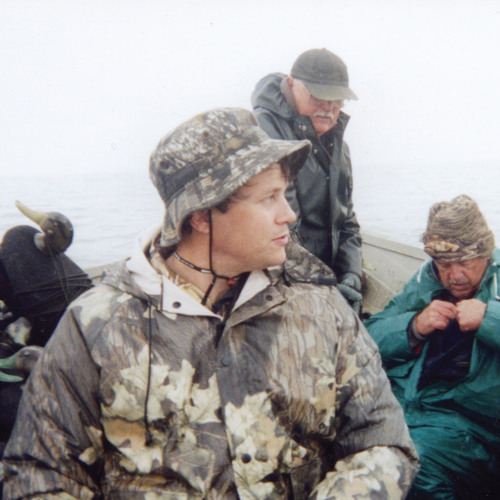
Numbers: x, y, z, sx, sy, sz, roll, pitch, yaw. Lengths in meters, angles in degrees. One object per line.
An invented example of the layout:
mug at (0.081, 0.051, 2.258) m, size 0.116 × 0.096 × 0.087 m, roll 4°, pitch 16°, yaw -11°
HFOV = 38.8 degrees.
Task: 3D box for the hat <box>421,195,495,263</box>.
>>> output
hat at (1.209, -0.121, 4.204) m, size 0.379 × 0.337 × 0.374 m, roll -27°, pitch 18°, yaw -31°

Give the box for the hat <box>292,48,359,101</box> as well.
hat at (0.419, -1.025, 4.199) m, size 0.344 × 0.279 × 0.228 m, roll 2°, pitch 10°, yaw 1°

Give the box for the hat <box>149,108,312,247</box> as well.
hat at (-0.078, -0.286, 2.780) m, size 0.623 × 0.530 × 0.330 m, roll 0°, pitch 10°, yaw -10°
